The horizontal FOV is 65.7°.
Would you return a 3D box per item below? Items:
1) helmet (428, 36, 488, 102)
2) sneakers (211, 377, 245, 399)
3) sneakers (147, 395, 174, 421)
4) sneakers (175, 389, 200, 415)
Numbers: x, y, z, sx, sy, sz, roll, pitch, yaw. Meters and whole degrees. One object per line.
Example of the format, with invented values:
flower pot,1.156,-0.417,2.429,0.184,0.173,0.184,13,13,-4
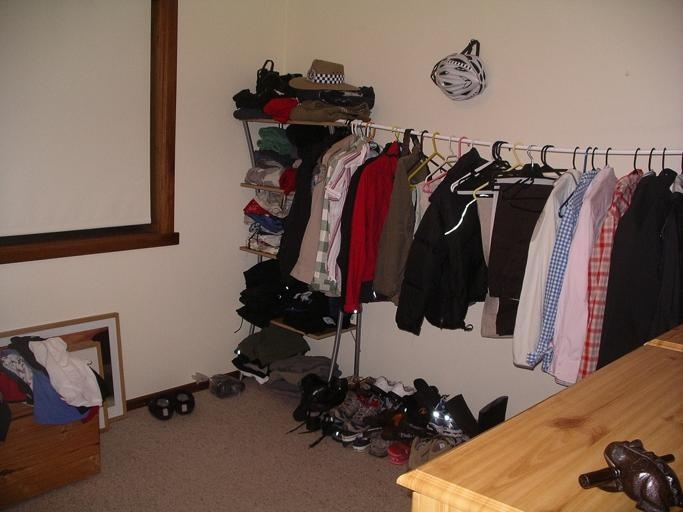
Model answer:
helmet,0.682,-1.029,3.005,0.272,0.156,0.346,3,-20,13
sneakers,-0.840,0.902,3.785,0.160,0.103,0.158,-6,15,-42
sneakers,-1.173,0.981,3.449,0.119,0.097,0.155,-1,14,-40
sneakers,-1.051,0.974,3.548,0.105,0.062,0.142,1,46,-5
